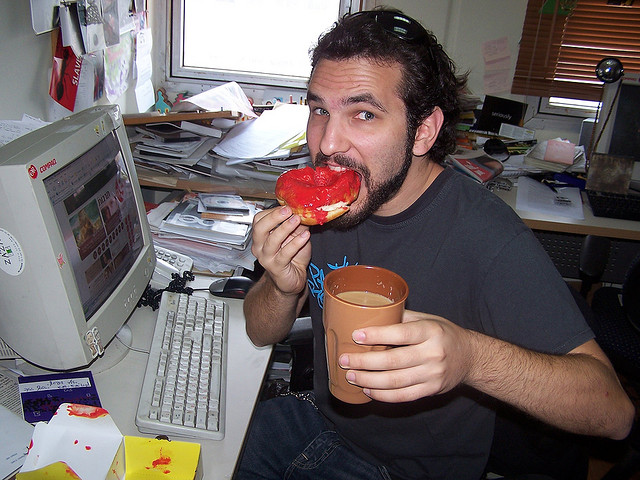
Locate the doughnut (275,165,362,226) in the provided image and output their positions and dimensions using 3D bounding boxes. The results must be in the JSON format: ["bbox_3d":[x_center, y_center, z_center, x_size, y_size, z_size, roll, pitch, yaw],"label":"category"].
[{"bbox_3d":[-0.009,-0.113,1.036,0.211,0.091,0.220,-9,26,-10],"label":"doughnut"}]

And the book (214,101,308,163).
[{"bbox_3d":[-0.267,-0.515,1.996,0.320,0.086,0.400,18,29,26],"label":"book"}]

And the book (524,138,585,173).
[{"bbox_3d":[1.416,-0.506,2.539,0.355,0.091,0.385,1,35,13],"label":"book"}]

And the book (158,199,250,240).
[{"bbox_3d":[-0.433,-0.061,1.545,0.173,0.032,0.191,5,29,3],"label":"book"}]

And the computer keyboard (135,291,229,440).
[{"bbox_3d":[-0.335,0.308,1.085,0.188,0.076,0.464,6,29,-17],"label":"computer keyboard"}]

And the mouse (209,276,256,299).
[{"bbox_3d":[-0.289,0.143,1.352,0.117,0.044,0.068,6,26,9],"label":"mouse"}]
